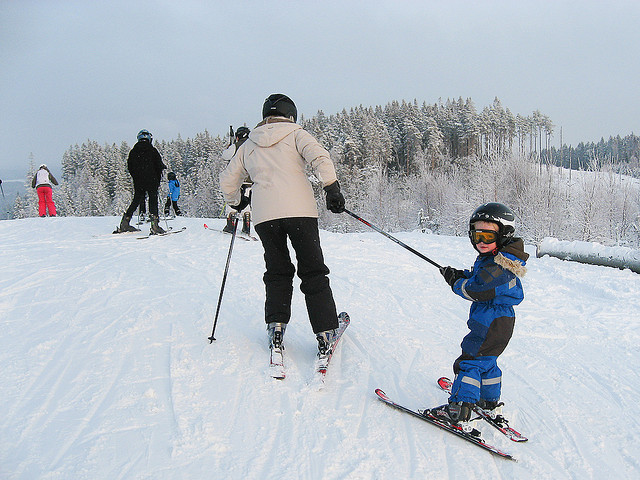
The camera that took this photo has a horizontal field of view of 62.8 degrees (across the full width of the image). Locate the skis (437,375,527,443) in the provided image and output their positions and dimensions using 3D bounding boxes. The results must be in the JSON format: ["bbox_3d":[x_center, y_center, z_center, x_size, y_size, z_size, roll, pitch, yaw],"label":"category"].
[{"bbox_3d":[1.607,1.734,5.321,0.880,0.146,0.096,42,-8,26],"label":"skis"}]

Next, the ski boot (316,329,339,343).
[{"bbox_3d":[0.094,1.038,5.727,0.202,0.095,0.122,-9,-8,39],"label":"ski boot"}]

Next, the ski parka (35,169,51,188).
[{"bbox_3d":[-7.437,-1.663,14.068,0.378,0.459,0.405,-6,8,-29],"label":"ski parka"}]

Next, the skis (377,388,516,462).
[{"bbox_3d":[1.229,1.847,5.176,1.370,0.162,0.085,25,20,25],"label":"skis"}]

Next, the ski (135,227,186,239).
[{"bbox_3d":[-3.296,-0.191,11.814,0.106,0.094,1.102,16,20,31],"label":"ski"}]

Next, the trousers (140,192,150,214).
[{"bbox_3d":[-3.717,-0.804,11.130,0.101,0.421,0.110,31,41,29],"label":"trousers"}]

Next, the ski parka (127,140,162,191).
[{"bbox_3d":[-3.578,-1.527,10.742,0.667,1.026,0.306,-5,7,-22],"label":"ski parka"}]

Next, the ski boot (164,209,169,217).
[{"bbox_3d":[-4.487,-0.803,15.328,0.057,0.241,0.249,2,1,6],"label":"ski boot"}]

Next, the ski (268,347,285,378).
[{"bbox_3d":[-0.474,1.309,5.602,0.171,0.263,0.254,-2,7,-5],"label":"ski"}]

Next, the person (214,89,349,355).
[{"bbox_3d":[-0.436,-0.197,5.821,1.340,2.831,0.617,2,8,31],"label":"person"}]

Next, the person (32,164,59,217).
[{"bbox_3d":[-7.407,-1.301,14.165,0.579,1.422,1.377,-5,8,-29],"label":"person"}]

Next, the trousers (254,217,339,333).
[{"bbox_3d":[-0.264,0.372,5.762,0.851,1.254,0.380,-3,7,-7],"label":"trousers"}]

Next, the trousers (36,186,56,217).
[{"bbox_3d":[-7.521,-1.062,14.403,0.403,0.831,0.947,-6,8,-29],"label":"trousers"}]

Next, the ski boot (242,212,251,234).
[{"bbox_3d":[-1.634,-0.381,11.565,0.163,0.456,0.509,-1,-2,-2],"label":"ski boot"}]
